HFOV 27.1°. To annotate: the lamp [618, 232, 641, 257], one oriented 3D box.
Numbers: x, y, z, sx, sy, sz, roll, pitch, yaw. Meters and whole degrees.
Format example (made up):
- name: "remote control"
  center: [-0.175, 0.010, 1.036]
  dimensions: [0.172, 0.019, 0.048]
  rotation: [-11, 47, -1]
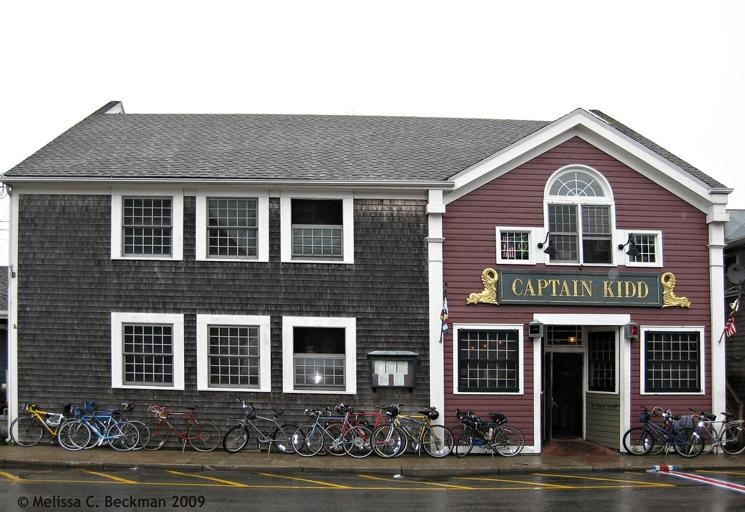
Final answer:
- name: "lamp"
  center: [7.630, -0.334, 45.646]
  dimensions: [0.626, 0.762, 0.767]
  rotation: [5, -6, -37]
